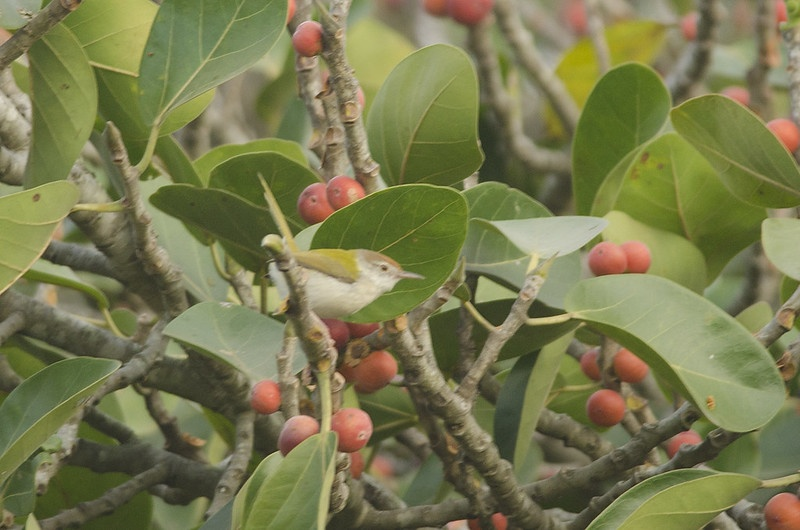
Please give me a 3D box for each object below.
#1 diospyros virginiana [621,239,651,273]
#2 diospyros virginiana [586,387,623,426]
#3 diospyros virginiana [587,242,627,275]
[{"bbox_3d":[0.505,-0.021,2.649,0.060,0.072,0.062,-7,4,25],"label":"diospyros virginiana"},{"bbox_3d":[0.443,0.306,2.714,0.084,0.077,0.075,-14,11,4],"label":"diospyros virginiana"},{"bbox_3d":[0.430,-0.014,2.598,0.067,0.069,0.071,-1,1,-11],"label":"diospyros virginiana"}]
